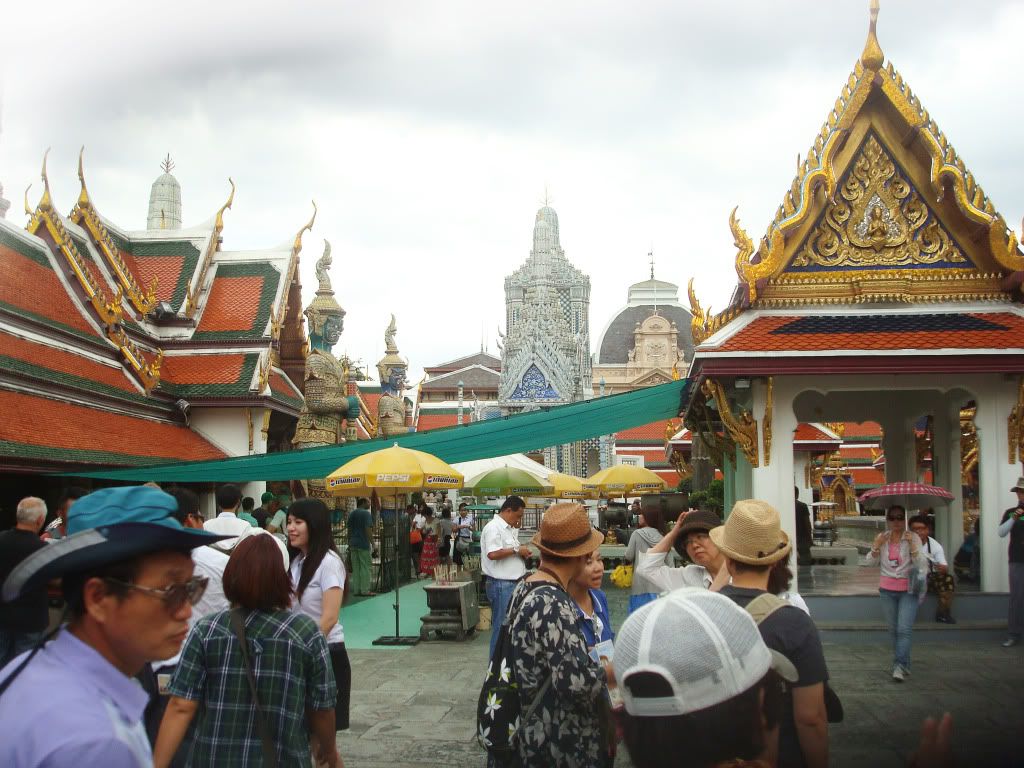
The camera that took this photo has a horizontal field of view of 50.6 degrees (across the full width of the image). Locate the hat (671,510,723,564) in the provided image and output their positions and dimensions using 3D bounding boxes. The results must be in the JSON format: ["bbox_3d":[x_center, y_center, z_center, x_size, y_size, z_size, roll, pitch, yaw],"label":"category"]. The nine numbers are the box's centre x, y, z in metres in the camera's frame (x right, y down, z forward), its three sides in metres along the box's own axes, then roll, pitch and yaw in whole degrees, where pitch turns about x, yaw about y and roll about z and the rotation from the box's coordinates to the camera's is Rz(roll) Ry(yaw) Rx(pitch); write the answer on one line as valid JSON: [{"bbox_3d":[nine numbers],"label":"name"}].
[{"bbox_3d":[1.159,0.942,6.834,0.272,0.144,0.376,-8,-30,12],"label":"hat"}]

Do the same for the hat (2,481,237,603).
[{"bbox_3d":[-1.539,0.592,4.111,0.604,0.228,0.467,-18,-7,-11],"label":"hat"}]

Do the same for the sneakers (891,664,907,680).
[{"bbox_3d":[3.466,2.577,9.646,0.071,0.088,0.208,-10,-45,21],"label":"sneakers"}]

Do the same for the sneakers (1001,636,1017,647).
[{"bbox_3d":[5.055,2.617,10.984,0.065,0.081,0.216,-5,-18,28],"label":"sneakers"}]

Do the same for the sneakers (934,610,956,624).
[{"bbox_3d":[4.592,2.483,11.459,0.214,0.085,0.077,0,-4,-2],"label":"sneakers"}]

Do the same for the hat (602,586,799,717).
[{"bbox_3d":[0.724,1.004,4.275,0.593,0.311,0.406,-11,6,-29],"label":"hat"}]

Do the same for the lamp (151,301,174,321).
[{"bbox_3d":[-7.420,-1.483,23.055,0.452,0.307,0.474,-9,-7,36],"label":"lamp"}]

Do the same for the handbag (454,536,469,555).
[{"bbox_3d":[-0.924,3.063,20.278,0.224,0.270,0.298,0,6,2],"label":"handbag"}]
